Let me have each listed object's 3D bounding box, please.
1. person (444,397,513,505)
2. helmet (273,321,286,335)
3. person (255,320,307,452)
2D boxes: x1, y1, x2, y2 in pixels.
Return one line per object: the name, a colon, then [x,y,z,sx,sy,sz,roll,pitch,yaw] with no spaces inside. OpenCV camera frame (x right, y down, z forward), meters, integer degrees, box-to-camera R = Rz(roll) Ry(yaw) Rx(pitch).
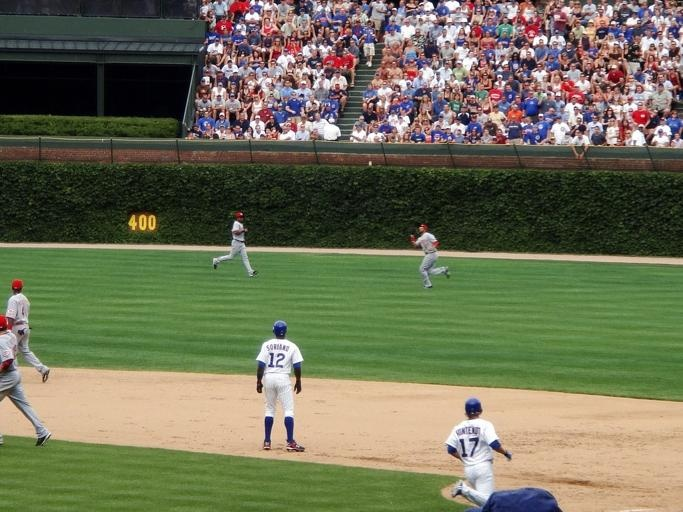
person: [3.499,5.183,46.086,1.105,2.816,0.814,0,3,-25]
helmet: [-1.645,1.997,48.433,0.344,0.333,0.406,1,7,-7]
person: [-1.602,3.591,48.607,1.573,3.525,0.847,1,-1,9]
